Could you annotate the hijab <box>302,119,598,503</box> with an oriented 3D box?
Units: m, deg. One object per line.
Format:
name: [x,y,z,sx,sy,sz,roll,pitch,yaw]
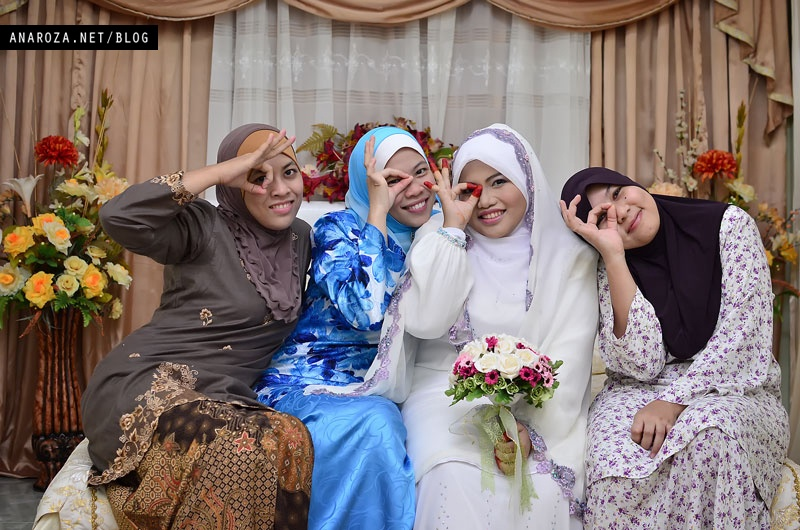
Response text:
hijab: [0.361,0.322,3.480,1.061,1.698,1.084,11,24,32]

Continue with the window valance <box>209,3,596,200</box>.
window valance: [-0.041,-0.955,4.376,1.245,1.095,0.143,1,-5,-2]

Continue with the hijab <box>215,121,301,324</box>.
hijab: [-0.675,-0.172,3.470,0.212,0.827,0.463,-20,-5,37]
